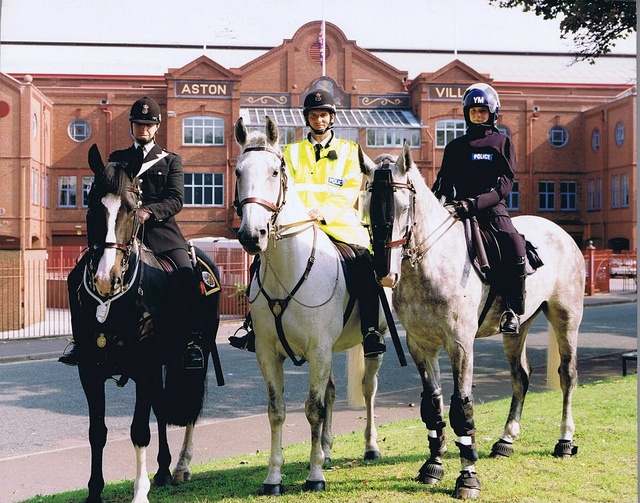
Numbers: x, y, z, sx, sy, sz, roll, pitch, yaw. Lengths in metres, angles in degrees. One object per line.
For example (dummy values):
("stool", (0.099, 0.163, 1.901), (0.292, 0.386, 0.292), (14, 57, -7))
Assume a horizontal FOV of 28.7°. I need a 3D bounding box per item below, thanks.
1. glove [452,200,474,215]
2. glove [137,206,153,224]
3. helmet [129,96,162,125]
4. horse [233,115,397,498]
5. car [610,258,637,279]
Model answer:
("glove", (3.272, -1.032, 28.943), (0.308, 0.136, 0.384), (12, -2, 15))
("glove", (-4.007, -0.843, 28.429), (0.267, 0.341, 0.127), (12, -10, 1))
("helmet", (-4.076, -3.345, 29.465), (0.557, 0.444, 0.688), (3, 9, -4))
("horse", (-0.631, 1.138, 28.662), (2.438, 8.401, 2.099), (-3, 12, -4))
("car", (13.332, 0.747, 55.367), (1.189, 0.612, 1.849), (2, 7, 17))
